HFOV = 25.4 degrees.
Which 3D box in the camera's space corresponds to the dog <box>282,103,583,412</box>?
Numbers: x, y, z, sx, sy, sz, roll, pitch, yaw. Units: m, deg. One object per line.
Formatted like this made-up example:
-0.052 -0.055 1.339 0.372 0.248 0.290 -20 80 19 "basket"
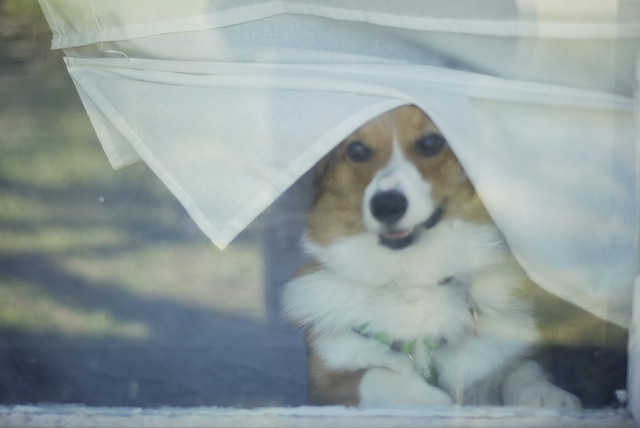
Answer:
0.290 0.305 5.152 0.931 1.148 1.178 -7 -31 3 "dog"
